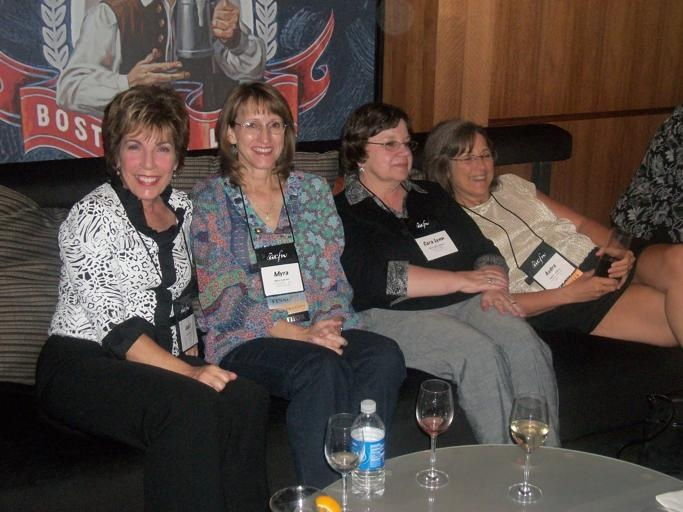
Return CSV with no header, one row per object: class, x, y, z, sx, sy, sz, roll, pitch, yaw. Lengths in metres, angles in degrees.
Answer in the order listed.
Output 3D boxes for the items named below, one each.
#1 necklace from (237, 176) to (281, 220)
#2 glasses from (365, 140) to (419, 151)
necklace,-0.383,-0.249,2.470,0.170,0.162,0.045,-8,-17,-5
glasses,0.261,-0.529,2.636,0.113,0.032,0.113,-4,5,-36
